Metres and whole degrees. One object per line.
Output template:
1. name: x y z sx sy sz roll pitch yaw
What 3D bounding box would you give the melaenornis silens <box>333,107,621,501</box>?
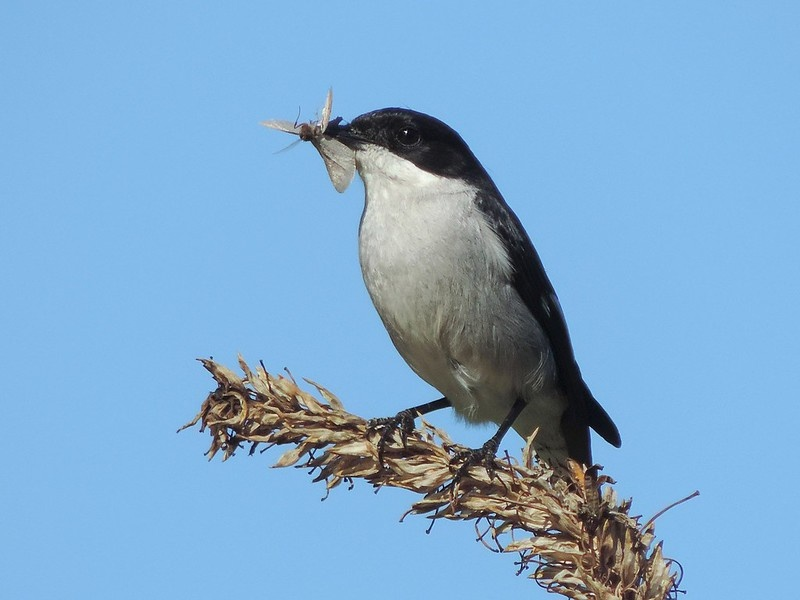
1. melaenornis silens: 0.302 -0.094 6.533 1.695 0.748 1.585 3 -97 -53
